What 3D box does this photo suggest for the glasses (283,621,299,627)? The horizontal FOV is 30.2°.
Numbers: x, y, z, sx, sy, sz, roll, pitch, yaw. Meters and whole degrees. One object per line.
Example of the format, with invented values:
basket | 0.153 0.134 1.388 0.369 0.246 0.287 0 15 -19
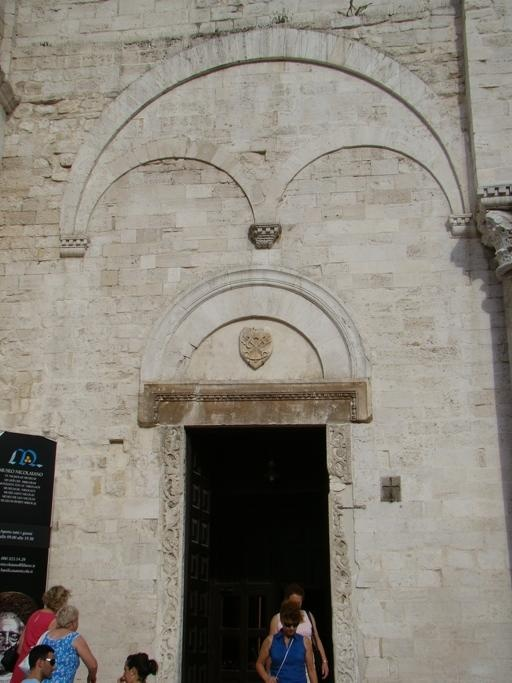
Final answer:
glasses | 0.244 1.933 6.483 0.064 0.021 0.066 3 -36 0
